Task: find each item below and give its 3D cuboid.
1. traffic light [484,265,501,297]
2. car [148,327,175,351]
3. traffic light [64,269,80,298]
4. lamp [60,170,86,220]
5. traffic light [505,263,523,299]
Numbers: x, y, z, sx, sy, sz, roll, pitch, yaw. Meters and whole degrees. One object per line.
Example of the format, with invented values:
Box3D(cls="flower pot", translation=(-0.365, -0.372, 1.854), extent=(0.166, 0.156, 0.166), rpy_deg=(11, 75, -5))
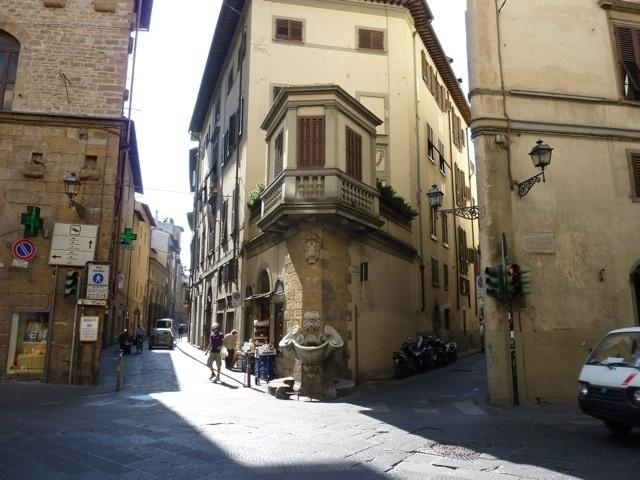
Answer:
Box3D(cls="traffic light", translation=(4.818, 1.169, 14.313), extent=(0.510, 0.834, 0.277), rpy_deg=(-4, -8, 35))
Box3D(cls="car", translation=(-12.181, 7.676, 39.448), extent=(1.167, 1.171, 2.176), rpy_deg=(2, -6, -13))
Box3D(cls="traffic light", translation=(-8.421, 1.511, 17.419), extent=(0.424, 0.874, 0.481), rpy_deg=(4, -8, -27))
Box3D(cls="lamp", translation=(-8.523, -1.613, 17.743), extent=(0.679, 1.677, 1.061), rpy_deg=(2, -7, -11))
Box3D(cls="traffic light", translation=(5.316, 1.119, 13.985), extent=(0.451, 0.892, 0.327), rpy_deg=(-2, -7, 18))
